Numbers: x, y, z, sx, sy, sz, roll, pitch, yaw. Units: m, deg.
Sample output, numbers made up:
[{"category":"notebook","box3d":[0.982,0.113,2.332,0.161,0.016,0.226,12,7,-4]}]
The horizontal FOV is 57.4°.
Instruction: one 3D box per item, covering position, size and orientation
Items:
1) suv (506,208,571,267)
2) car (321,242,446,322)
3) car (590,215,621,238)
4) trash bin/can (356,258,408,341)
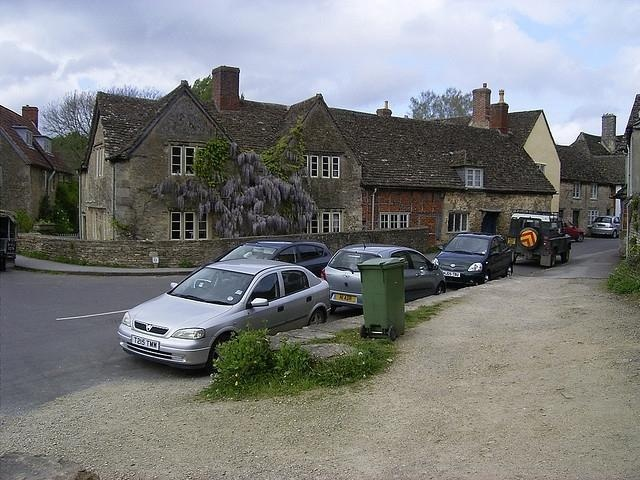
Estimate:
[{"category":"suv","box3d":[10.360,0.258,28.592,1.983,2.619,3.785,3,-7,28]},{"category":"car","box3d":[1.569,0.912,15.570,1.585,1.481,2.618,0,6,42]},{"category":"car","box3d":[25.317,-1.164,51.252,1.304,1.343,2.675,3,10,39]},{"category":"trash bin/can","box3d":[1.265,1.133,11.569,0.714,1.584,0.881,0,5,40]}]
